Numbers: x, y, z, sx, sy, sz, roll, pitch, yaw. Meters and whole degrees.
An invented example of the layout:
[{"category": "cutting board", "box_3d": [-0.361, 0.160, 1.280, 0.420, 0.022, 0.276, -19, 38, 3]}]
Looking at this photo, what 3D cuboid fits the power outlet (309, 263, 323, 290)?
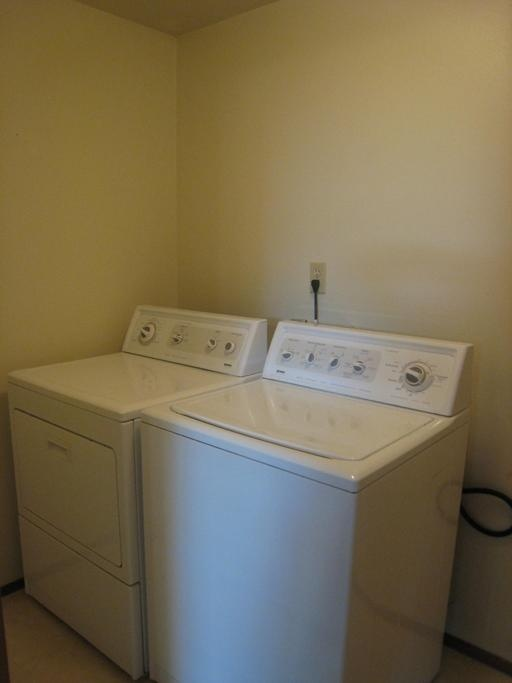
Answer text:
[{"category": "power outlet", "box_3d": [0.229, -0.247, 1.893, 0.014, 0.153, 0.068, -11, 15, -43]}]
